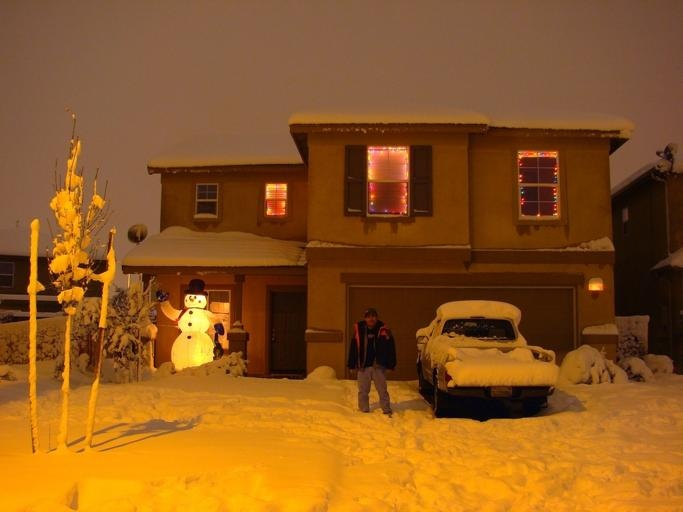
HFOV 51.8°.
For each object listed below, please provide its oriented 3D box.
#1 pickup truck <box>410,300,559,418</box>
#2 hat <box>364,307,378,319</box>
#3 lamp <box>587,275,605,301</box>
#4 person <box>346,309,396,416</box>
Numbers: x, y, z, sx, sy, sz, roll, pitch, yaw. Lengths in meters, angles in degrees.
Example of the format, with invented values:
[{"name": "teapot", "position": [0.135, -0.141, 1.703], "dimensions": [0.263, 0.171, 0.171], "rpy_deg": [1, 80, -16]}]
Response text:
[{"name": "pickup truck", "position": [3.078, 2.316, 15.191], "dimensions": [2.360, 2.385, 2.749], "rpy_deg": [1, 5, -5]}, {"name": "hat", "position": [0.615, 1.208, 14.960], "dimensions": [0.237, 0.323, 0.348], "rpy_deg": [1, 1, -4]}, {"name": "lamp", "position": [6.786, 0.855, 18.677], "dimensions": [0.466, 0.585, 0.182], "rpy_deg": [0, 4, -7]}, {"name": "person", "position": [0.649, 2.236, 14.933], "dimensions": [0.970, 2.237, 0.869], "rpy_deg": [2, 5, 10]}]
